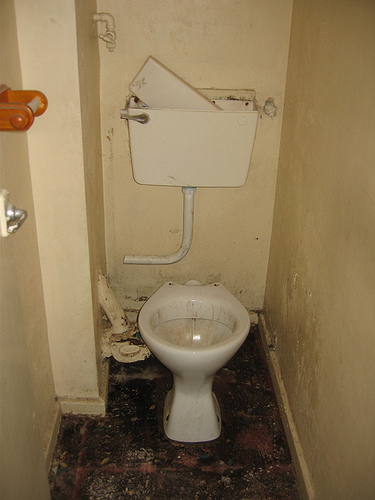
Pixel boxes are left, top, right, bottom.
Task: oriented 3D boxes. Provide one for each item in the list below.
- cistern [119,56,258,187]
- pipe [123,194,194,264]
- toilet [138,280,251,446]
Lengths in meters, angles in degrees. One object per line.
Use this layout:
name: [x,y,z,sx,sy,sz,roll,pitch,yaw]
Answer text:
cistern: [0.005,-0.460,1.664,0.423,0.430,0.210,1,48,-1]
pipe: [-0.112,-0.091,2.050,0.297,0.059,0.407,-3,55,6]
toilet: [0.028,0.369,1.714,0.342,0.438,0.516,1,26,1]
